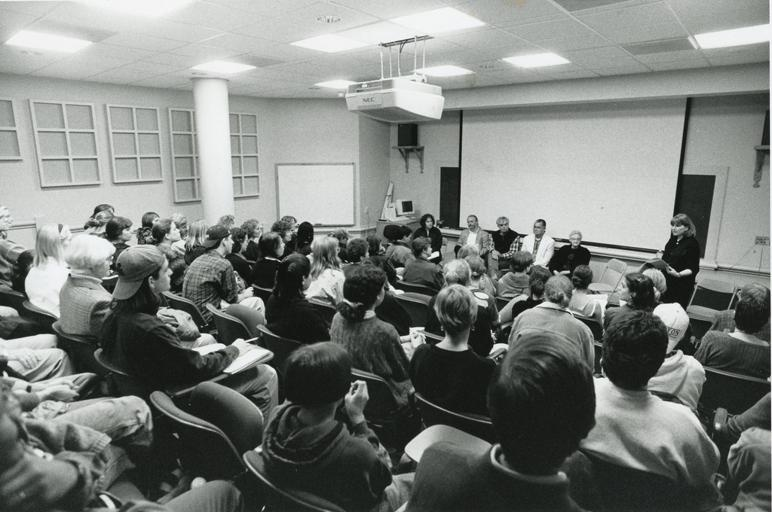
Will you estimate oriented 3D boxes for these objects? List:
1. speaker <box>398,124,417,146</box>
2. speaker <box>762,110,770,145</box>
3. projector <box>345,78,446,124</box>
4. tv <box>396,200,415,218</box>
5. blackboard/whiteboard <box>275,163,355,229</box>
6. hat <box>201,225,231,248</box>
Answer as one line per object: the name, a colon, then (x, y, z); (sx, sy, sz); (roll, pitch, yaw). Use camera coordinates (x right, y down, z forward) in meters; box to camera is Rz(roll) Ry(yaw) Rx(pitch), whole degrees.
speaker: (0.394, -2.220, 10.145); (0.389, 0.417, 0.295); (3, 9, 3)
speaker: (4.684, -1.577, 6.788); (0.066, 0.448, 0.253); (7, 10, 30)
projector: (0.216, -1.466, 5.555); (0.616, 0.255, 0.602); (-4, 7, -44)
tv: (0.347, -0.851, 10.183); (0.249, 0.376, 0.461); (0, 2, 42)
blackboard/whiteboard: (-1.275, -1.101, 9.989); (1.516, 1.158, 0.071); (1, 7, 15)
hat: (-1.645, -0.183, 5.308); (0.156, 0.115, 0.254); (21, 56, 24)
